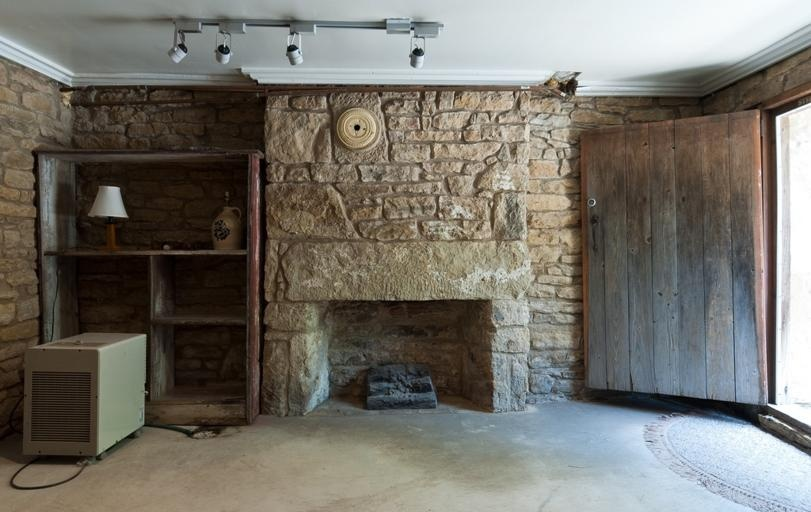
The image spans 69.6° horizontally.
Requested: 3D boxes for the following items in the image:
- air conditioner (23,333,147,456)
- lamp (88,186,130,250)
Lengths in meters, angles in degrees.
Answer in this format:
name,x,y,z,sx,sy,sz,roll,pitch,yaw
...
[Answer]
name,x,y,z,sx,sy,sz,roll,pitch,yaw
air conditioner,-2.583,1.194,5.206,0.730,0.906,1.222,-2,-3,11
lamp,-2.754,-0.365,5.429,0.322,0.629,0.490,2,-5,-24
